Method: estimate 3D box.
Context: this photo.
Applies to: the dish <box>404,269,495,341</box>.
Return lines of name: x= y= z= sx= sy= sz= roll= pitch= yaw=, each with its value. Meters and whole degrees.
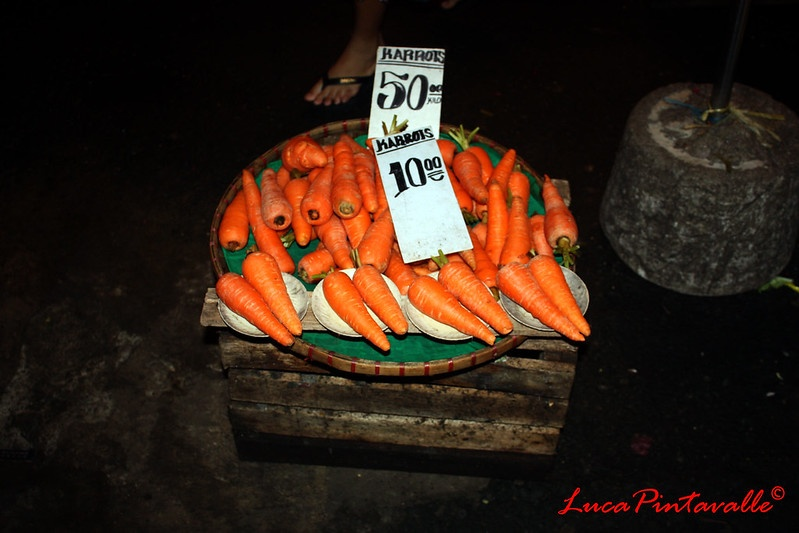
dish: x=0.243 y=0.276 z=3.521 sx=0.500 sy=0.203 sz=0.230 roll=35 pitch=63 yaw=28

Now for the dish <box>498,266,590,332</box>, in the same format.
dish: x=0.749 y=0.196 z=3.555 sx=0.417 sy=0.189 sz=0.422 roll=-5 pitch=52 yaw=1

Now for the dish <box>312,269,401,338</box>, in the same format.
dish: x=-0.219 y=0.187 z=3.640 sx=0.506 sy=0.196 sz=0.398 roll=-7 pitch=52 yaw=0
